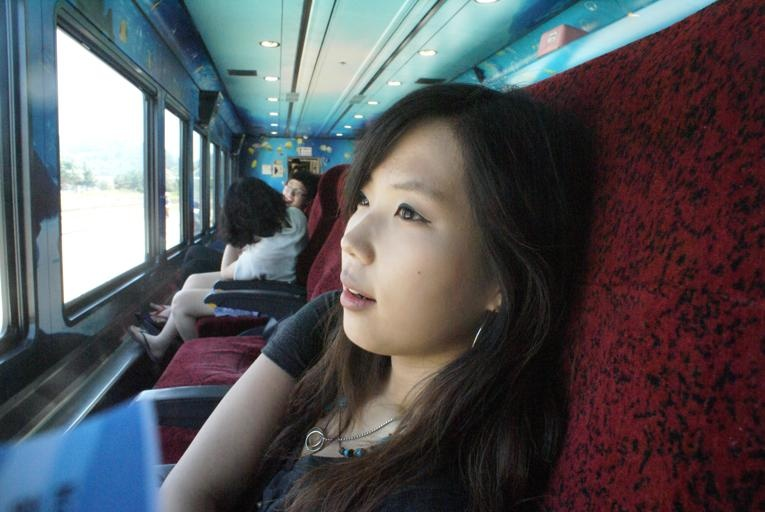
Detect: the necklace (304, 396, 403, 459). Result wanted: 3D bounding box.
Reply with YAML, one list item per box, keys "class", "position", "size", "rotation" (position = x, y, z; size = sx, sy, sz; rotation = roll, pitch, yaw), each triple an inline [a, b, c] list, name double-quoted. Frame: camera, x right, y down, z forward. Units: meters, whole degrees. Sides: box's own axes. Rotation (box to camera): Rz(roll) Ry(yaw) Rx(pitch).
- class: "necklace"
  position: [-0.091, 0.399, 1.260]
  size: [0.168, 0.036, 0.122]
  rotation: [-11, 3, -19]
